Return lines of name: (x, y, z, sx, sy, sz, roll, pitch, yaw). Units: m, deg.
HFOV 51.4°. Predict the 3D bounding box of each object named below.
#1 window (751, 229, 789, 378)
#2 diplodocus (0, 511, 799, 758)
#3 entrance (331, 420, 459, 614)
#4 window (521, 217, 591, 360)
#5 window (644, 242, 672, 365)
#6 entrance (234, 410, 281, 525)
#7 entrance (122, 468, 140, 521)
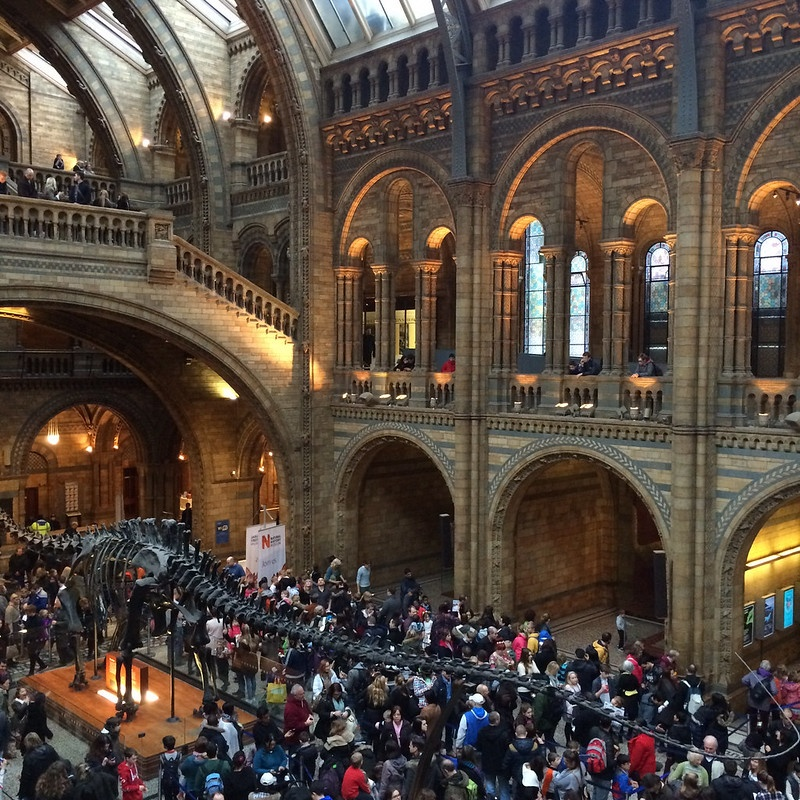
window: (7.686, -1.907, 17.379, 0.611, 3.099, 0.079, 4, 30, 28)
diplodocus: (0.081, 3.669, 13.040, 12.054, 2.468, 2.465, 4, -2, 35)
entrance: (-0.234, 2.664, 19.291, 3.635, 5.830, 1.659, 3, -5, -43)
window: (3.799, -2.764, 20.506, 1.442, 4.155, 0.063, -1, -17, 15)
window: (6.051, -2.280, 19.467, 0.075, 2.794, 0.573, -12, 15, -39)
entrance: (-4.162, 2.115, 23.384, 1.044, 2.491, 0.341, -8, -17, 28)
entrance: (-9.697, 3.073, 29.925, 0.670, 0.132, 1.966, 5, -41, -14)
